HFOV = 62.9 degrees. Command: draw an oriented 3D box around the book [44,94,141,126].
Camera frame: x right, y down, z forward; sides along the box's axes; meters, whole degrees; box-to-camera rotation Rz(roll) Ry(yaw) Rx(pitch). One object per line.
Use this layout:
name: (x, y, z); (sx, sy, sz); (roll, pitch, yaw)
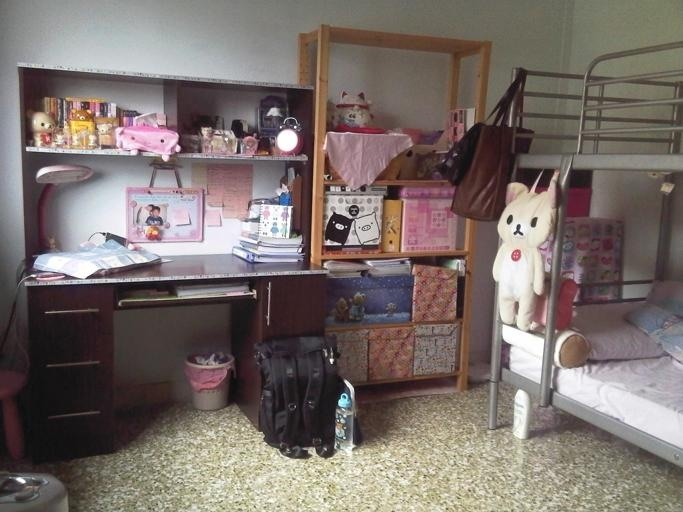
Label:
book: (-1.391, -0.811, 3.124); (0.500, 0.158, 0.183); (-6, 15, -25)

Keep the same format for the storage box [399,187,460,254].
storage box: (0.540, -0.234, 3.521); (0.409, 0.389, 0.226); (-1, 5, -18)

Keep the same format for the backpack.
backpack: (-0.201, 0.766, 3.113); (0.557, 0.532, 0.476); (0, 7, -5)

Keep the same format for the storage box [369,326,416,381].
storage box: (0.305, 0.609, 3.731); (0.336, 0.333, 0.340); (-3, 6, -15)

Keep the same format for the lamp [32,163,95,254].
lamp: (-1.528, -0.270, 3.084); (0.295, 0.474, 0.349); (-7, 16, -28)

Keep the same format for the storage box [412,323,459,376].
storage box: (0.576, 0.632, 3.778); (0.338, 0.328, 0.267); (1, -2, -16)

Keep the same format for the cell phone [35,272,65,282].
cell phone: (-1.456, 0.106, 2.780); (0.147, 0.018, 0.109); (1, 14, 4)

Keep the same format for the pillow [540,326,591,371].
pillow: (1.178, 0.482, 2.923); (0.182, 0.187, 0.196); (0, -11, 8)

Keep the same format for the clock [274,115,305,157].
clock: (-0.309, -0.709, 3.316); (0.171, 0.237, 0.115); (5, 10, -1)

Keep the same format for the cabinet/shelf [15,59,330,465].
cabinet/shelf: (-1.143, -0.026, 3.404); (1.245, 1.471, 0.495); (4, -13, -36)

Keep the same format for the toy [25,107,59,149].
toy: (-1.596, -0.685, 2.985); (0.135, 0.189, 0.153); (11, 16, 23)

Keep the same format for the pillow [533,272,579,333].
pillow: (1.116, 0.241, 2.927); (0.197, 0.289, 0.183); (2, 9, -19)

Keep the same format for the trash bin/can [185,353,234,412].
trash bin/can: (-0.812, 0.811, 3.491); (0.312, 0.272, 0.318); (-1, -1, -24)

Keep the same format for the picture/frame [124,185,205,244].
picture/frame: (-1.089, -0.262, 3.371); (0.365, 0.264, 0.028); (-1, 5, -17)

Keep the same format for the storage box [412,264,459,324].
storage box: (0.612, 0.251, 3.765); (0.351, 0.350, 0.348); (0, 7, -5)

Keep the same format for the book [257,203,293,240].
book: (-0.393, -0.208, 3.308); (0.200, 0.197, 0.187); (10, -15, -7)

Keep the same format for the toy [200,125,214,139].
toy: (-0.764, -0.703, 3.186); (0.066, 0.074, 0.036); (-1, 5, -17)

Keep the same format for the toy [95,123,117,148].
toy: (-1.281, -0.655, 3.045); (0.091, 0.125, 0.061); (-6, 15, -23)

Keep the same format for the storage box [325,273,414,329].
storage box: (0.193, 0.272, 3.549); (0.556, 0.331, 0.303); (-1, 8, -9)

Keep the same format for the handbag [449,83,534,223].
handbag: (0.854, -0.639, 3.173); (0.467, 0.846, 0.372); (8, 6, 20)
